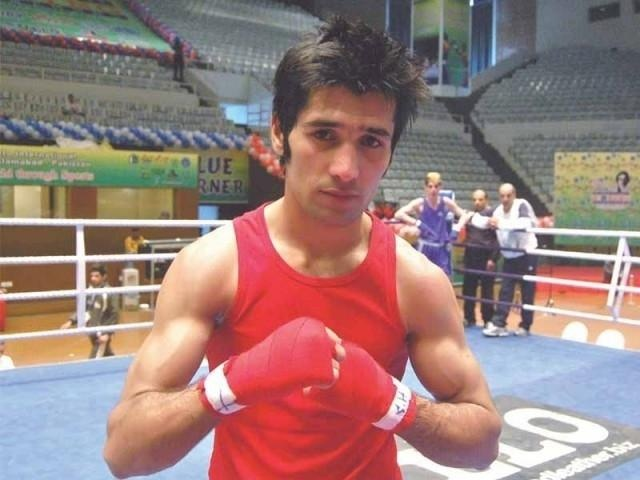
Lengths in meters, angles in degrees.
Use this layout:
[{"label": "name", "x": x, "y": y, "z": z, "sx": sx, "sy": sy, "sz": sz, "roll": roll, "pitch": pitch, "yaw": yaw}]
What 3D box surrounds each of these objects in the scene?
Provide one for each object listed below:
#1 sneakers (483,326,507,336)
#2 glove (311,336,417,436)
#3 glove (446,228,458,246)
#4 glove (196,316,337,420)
[{"label": "sneakers", "x": 1.644, "y": 0.858, "z": 5.416, "sx": 0.243, "sy": 0.130, "sz": 0.091, "roll": 6, "pitch": -8, "yaw": -20}, {"label": "glove", "x": 0.119, "y": 0.383, "z": 1.535, "sx": 0.280, "sy": 0.189, "sz": 0.117, "roll": 19, "pitch": 1, "yaw": -3}, {"label": "glove", "x": 1.332, "y": -0.017, "z": 5.715, "sx": 0.056, "sy": 0.176, "sz": 0.125, "roll": 17, "pitch": -3, "yaw": -1}, {"label": "glove", "x": -0.130, "y": 0.384, "z": 1.501, "sx": 0.323, "sy": 0.131, "sz": 0.207, "roll": -28, "pitch": 51, "yaw": -5}]
